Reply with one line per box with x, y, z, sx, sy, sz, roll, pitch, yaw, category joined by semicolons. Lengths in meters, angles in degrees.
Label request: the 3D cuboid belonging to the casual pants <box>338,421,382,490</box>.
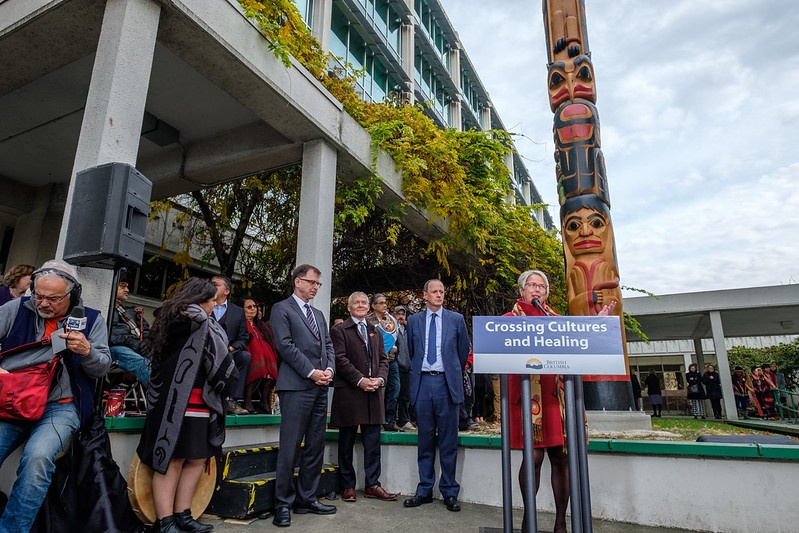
-0.457;2.113;5.630;0.431;0.836;0.200;-3;-54;-4;casual pants

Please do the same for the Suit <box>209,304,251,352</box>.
-2.221;0.803;6.502;0.460;0.652;0.325;1;-12;-22;Suit

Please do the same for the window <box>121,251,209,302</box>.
-4.111;0.159;8.711;0.068;0.589;0.982;-7;-15;28;window

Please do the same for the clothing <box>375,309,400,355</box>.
-0.207;0.917;7.679;0.379;0.501;0.221;15;-48;-12;clothing

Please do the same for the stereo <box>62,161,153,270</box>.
-2.668;-0.472;4.589;0.648;0.896;0.358;4;-15;-21;stereo

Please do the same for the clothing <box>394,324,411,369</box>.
0.047;1.293;7.937;0.395;0.572;0.217;-1;-1;-7;clothing

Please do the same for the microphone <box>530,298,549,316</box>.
1.269;0.358;4.575;0.130;0.171;0.376;-6;-15;17;microphone

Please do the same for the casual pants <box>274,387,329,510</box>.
-0.969;1.698;5.119;0.531;1.503;0.404;8;-10;-31;casual pants

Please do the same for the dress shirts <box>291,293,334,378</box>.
-0.869;0.762;5.256;0.199;0.869;0.457;-27;-15;16;dress shirts

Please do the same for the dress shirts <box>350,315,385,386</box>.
-0.319;0.996;5.825;0.238;0.726;0.533;-1;31;15;dress shirts

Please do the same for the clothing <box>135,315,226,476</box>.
-1.969;1.084;4.634;0.631;1.459;0.680;7;-5;-43;clothing

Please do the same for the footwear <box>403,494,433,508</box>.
0.189;2.478;5.348;0.356;0.149;0.117;16;-24;-30;footwear

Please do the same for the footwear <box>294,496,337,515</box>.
-0.864;2.405;5.118;0.436;0.207;0.167;-1;-19;4;footwear
